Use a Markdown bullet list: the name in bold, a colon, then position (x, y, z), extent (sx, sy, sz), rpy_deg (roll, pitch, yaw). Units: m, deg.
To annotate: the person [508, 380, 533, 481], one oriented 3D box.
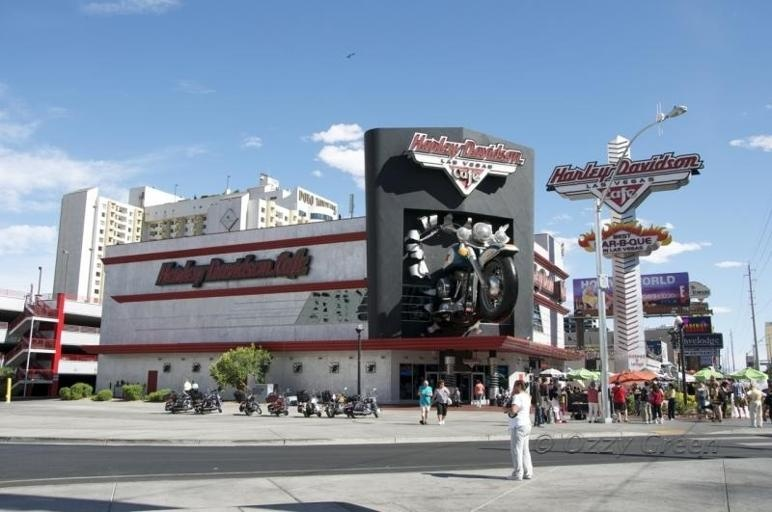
- **person**: position (3.863, 4.964, 19.152), extent (0.607, 2.757, 1.036), rpy_deg (-3, -13, 10)
